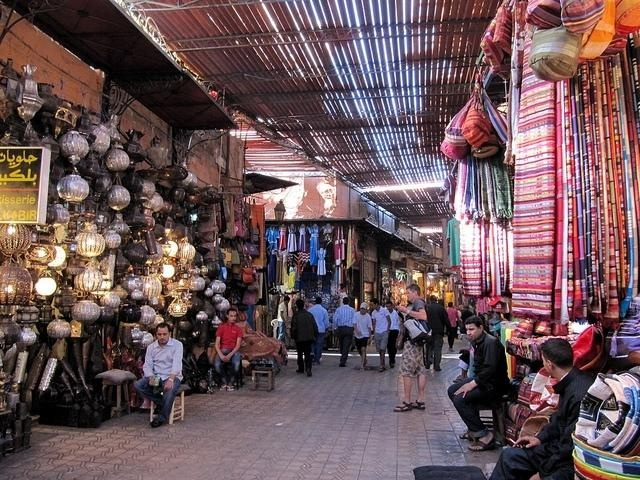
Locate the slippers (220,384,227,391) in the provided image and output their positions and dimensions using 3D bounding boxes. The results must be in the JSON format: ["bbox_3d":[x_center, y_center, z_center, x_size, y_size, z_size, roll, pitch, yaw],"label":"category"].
[{"bbox_3d":[-1.744,2.666,9.780,0.124,0.094,0.220,3,-6,-17],"label":"slippers"}]

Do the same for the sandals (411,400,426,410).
[{"bbox_3d":[1.542,2.564,8.370,0.231,0.106,0.109,6,2,42],"label":"sandals"}]

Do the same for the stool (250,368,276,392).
[{"bbox_3d":[-1.094,2.630,10.195,0.504,0.529,0.514,-1,-13,8],"label":"stool"}]

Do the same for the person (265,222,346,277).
[{"bbox_3d":[-0.447,0.234,17.414,2.381,1.653,0.679,3,-6,-15],"label":"person"}]

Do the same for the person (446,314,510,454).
[{"bbox_3d":[1.871,1.704,6.438,0.696,1.455,0.675,-3,-9,17],"label":"person"}]

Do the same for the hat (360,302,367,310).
[{"bbox_3d":[1.148,1.736,14.199,0.142,0.168,0.179,-1,-15,-1],"label":"hat"}]

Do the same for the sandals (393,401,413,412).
[{"bbox_3d":[1.260,2.541,8.204,0.314,0.151,0.121,2,-8,-6],"label":"sandals"}]

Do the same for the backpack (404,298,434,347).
[{"bbox_3d":[1.447,1.238,8.114,0.358,0.627,0.566,0,-6,9],"label":"backpack"}]

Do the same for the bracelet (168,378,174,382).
[{"bbox_3d":[-1.968,1.846,7.123,0.037,0.020,0.053,1,0,-4],"label":"bracelet"}]

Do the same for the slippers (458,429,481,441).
[{"bbox_3d":[1.734,2.273,6.270,0.272,0.117,0.095,-1,-2,36],"label":"slippers"}]
